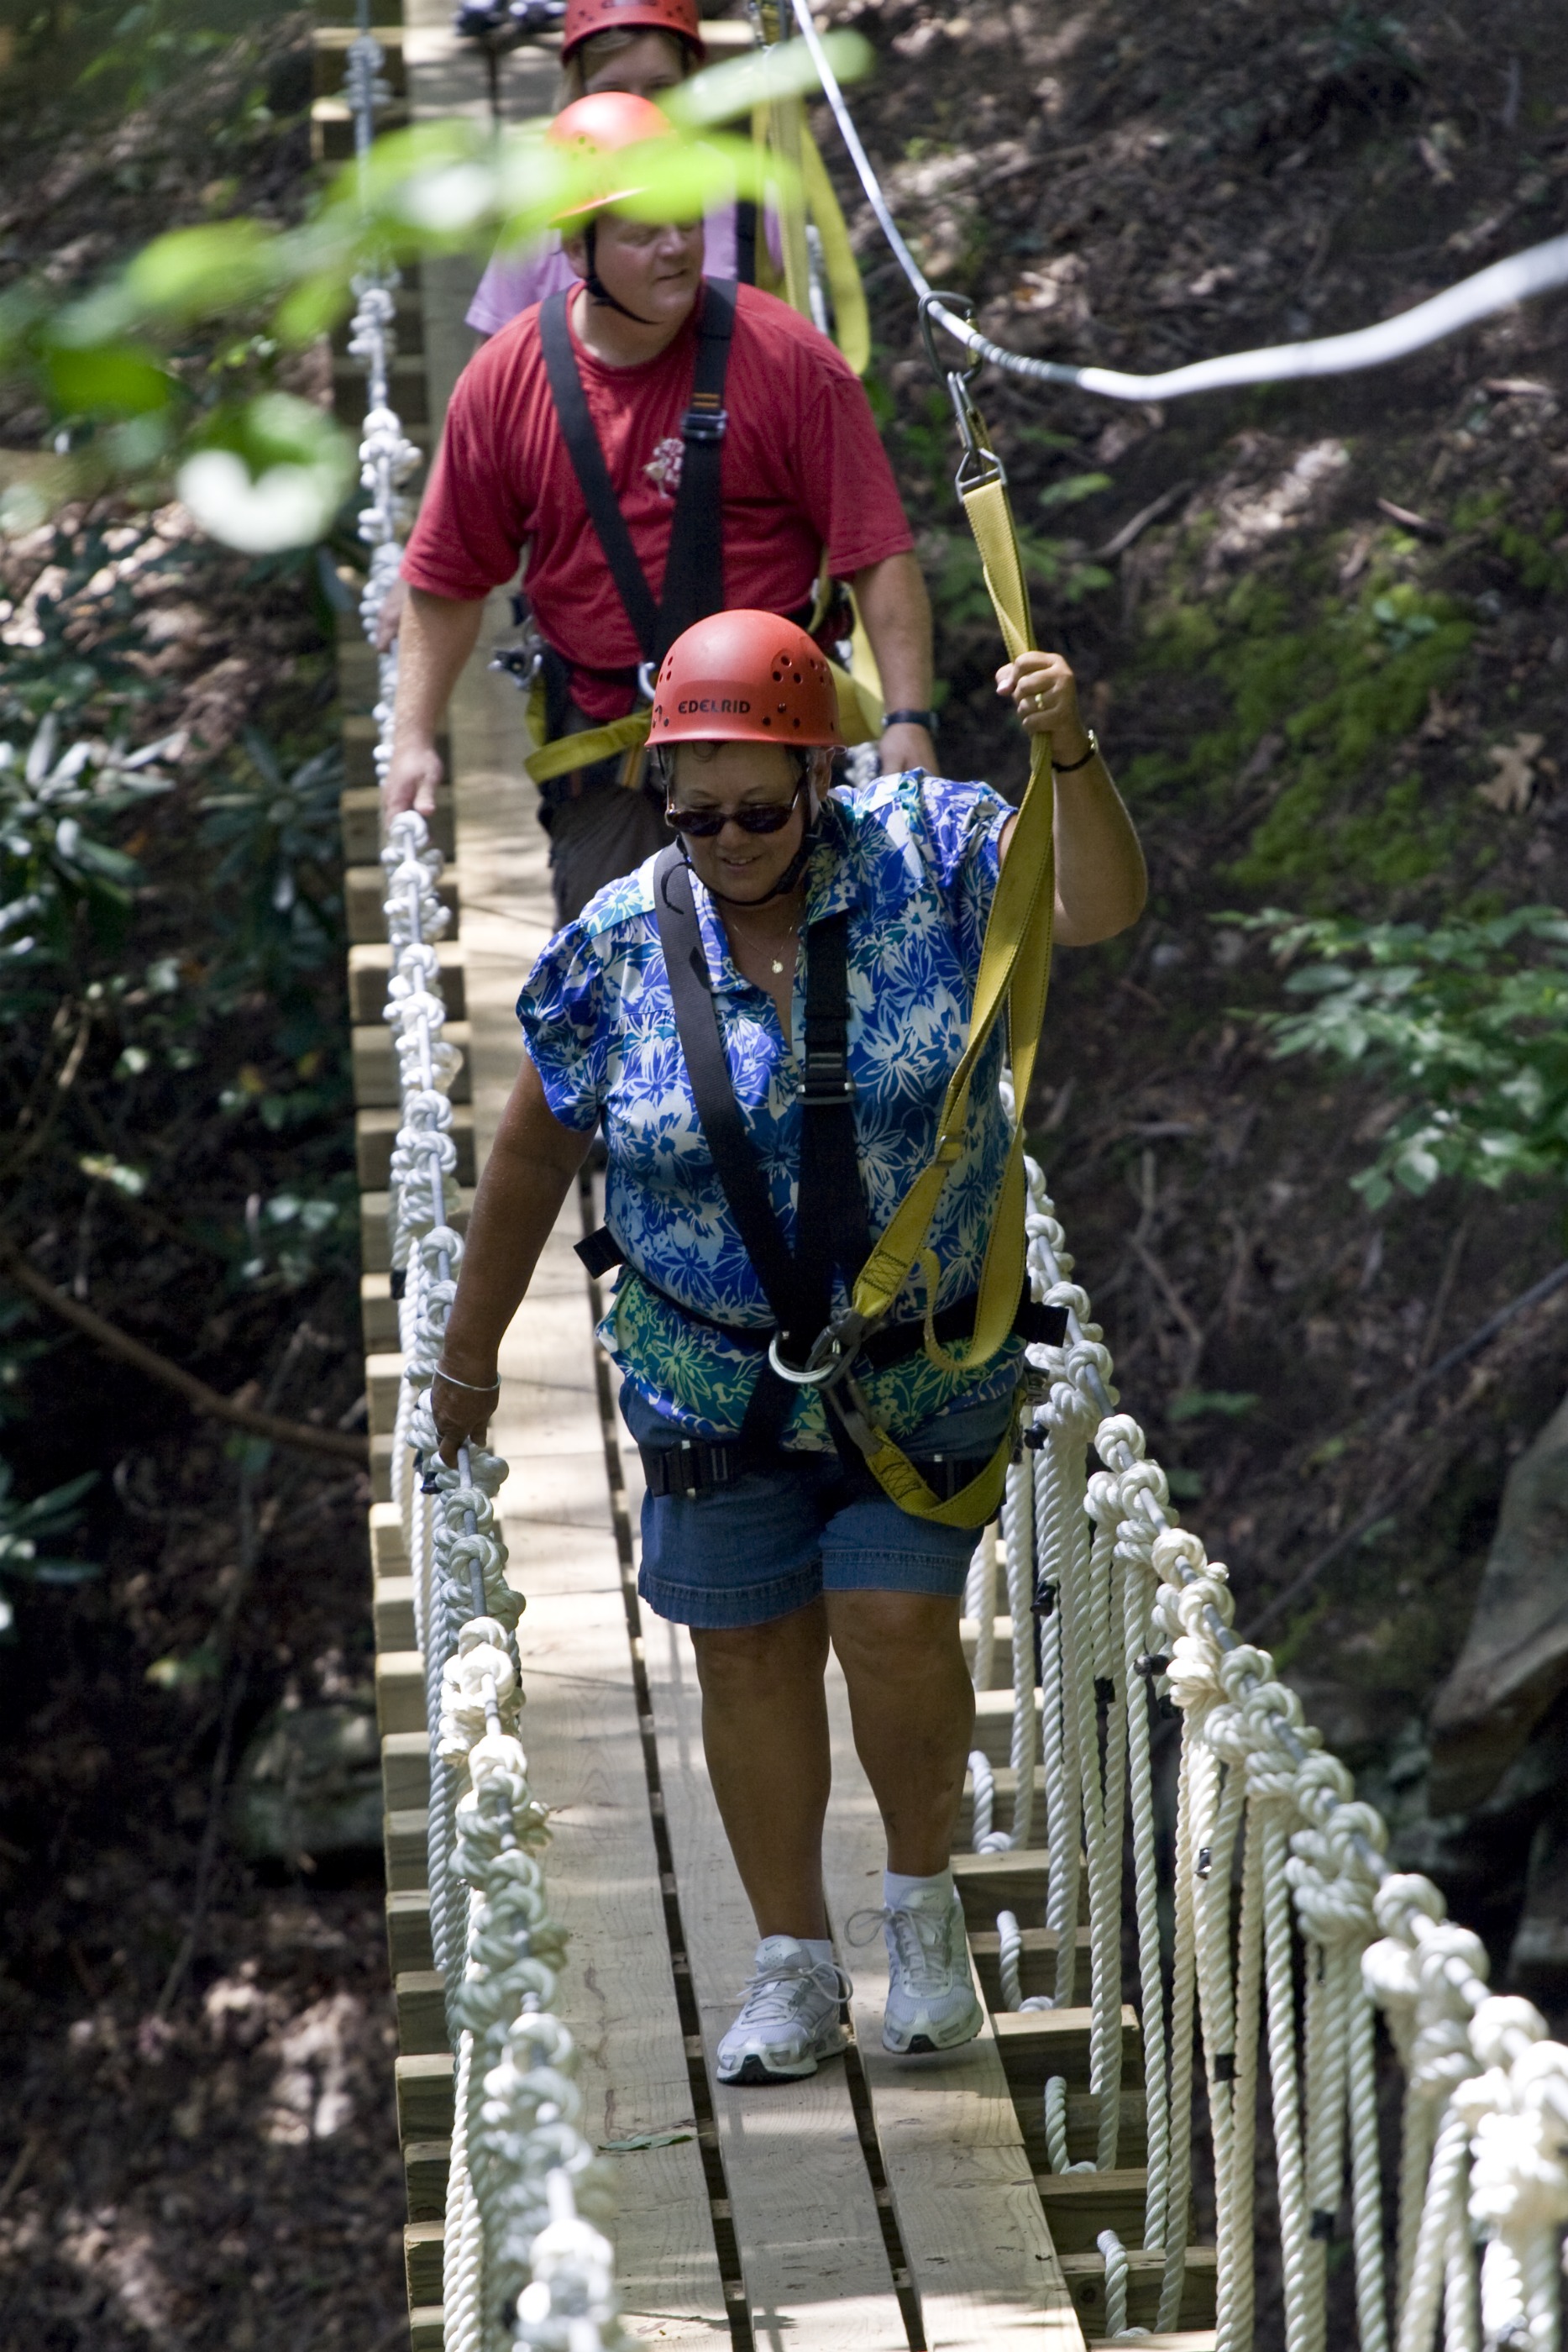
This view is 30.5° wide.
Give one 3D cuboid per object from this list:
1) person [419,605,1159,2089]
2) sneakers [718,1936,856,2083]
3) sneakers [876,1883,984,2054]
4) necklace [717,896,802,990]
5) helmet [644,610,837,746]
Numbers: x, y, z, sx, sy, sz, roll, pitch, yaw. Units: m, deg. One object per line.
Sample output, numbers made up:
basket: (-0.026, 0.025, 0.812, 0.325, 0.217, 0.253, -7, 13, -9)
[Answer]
person: (-0.001, 0.183, 2.550, 0.596, 1.316, 0.485, -11, 27, -6)
sneakers: (-0.002, 0.759, 2.605, 0.095, 0.068, 0.172, -1, 9, 13)
sneakers: (0.125, 0.716, 2.606, 0.088, 0.080, 0.178, -3, 54, 5)
necklace: (-0.023, -0.197, 2.478, 0.077, 0.081, 0.049, -5, 0, -1)
helmet: (-0.042, -0.414, 2.442, 0.159, 0.113, 0.123, -6, 24, 0)
